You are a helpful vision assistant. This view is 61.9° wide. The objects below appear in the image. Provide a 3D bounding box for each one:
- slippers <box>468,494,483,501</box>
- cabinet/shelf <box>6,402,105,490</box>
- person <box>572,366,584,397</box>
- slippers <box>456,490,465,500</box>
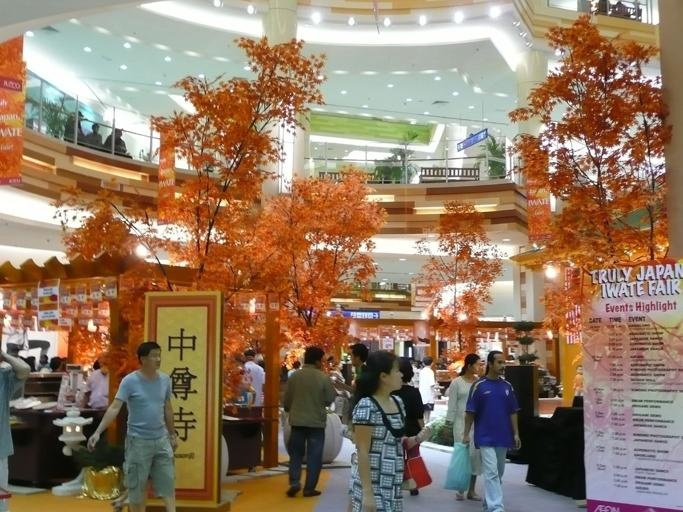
[{"bbox_3d":[1.629,2.922,6.867,0.173,0.119,0.061,-16,-28,29],"label":"slippers"},{"bbox_3d":[-3.769,2.435,7.386,1.137,0.857,0.946,1,-1,-24],"label":"cabinet/shelf"},{"bbox_3d":[5.222,2.762,12.550,0.169,0.604,0.927,-6,-15,19],"label":"person"},{"bbox_3d":[1.445,2.917,6.879,0.111,0.109,0.054,-7,-12,43],"label":"slippers"}]
